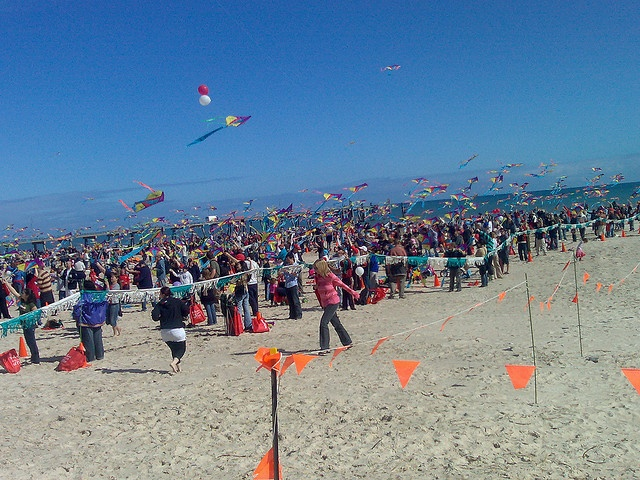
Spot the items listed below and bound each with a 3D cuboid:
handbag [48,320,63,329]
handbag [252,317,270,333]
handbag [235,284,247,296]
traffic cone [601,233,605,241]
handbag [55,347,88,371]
[{"bbox_3d":[-7.152,2.258,17.153,0.229,0.122,0.282,0,-1,-42],"label":"handbag"},{"bbox_3d":[-1.391,1.987,14.961,0.451,0.526,0.311,0,11,-1],"label":"handbag"},{"bbox_3d":[-1.852,1.184,15.103,0.333,0.330,0.247,0,-4,2],"label":"handbag"},{"bbox_3d":[11.911,-0.135,26.827,0.238,0.251,0.228,-3,13,34],"label":"traffic cone"},{"bbox_3d":[-5.043,2.407,12.907,0.615,0.530,0.432,-10,4,-28],"label":"handbag"}]
